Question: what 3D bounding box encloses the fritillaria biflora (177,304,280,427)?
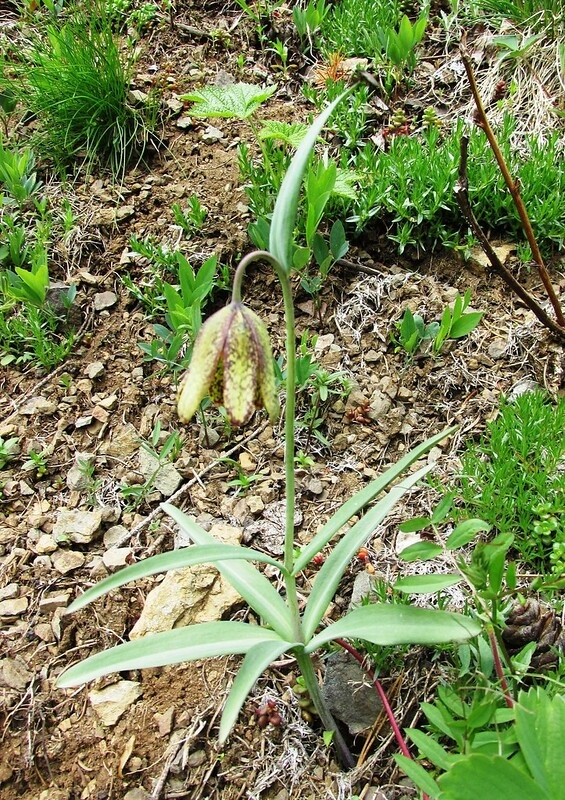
[{"bbox_3d":[-0.092,-0.078,1.256,0.169,0.172,0.166,4,15,-39],"label":"fritillaria biflora"}]
